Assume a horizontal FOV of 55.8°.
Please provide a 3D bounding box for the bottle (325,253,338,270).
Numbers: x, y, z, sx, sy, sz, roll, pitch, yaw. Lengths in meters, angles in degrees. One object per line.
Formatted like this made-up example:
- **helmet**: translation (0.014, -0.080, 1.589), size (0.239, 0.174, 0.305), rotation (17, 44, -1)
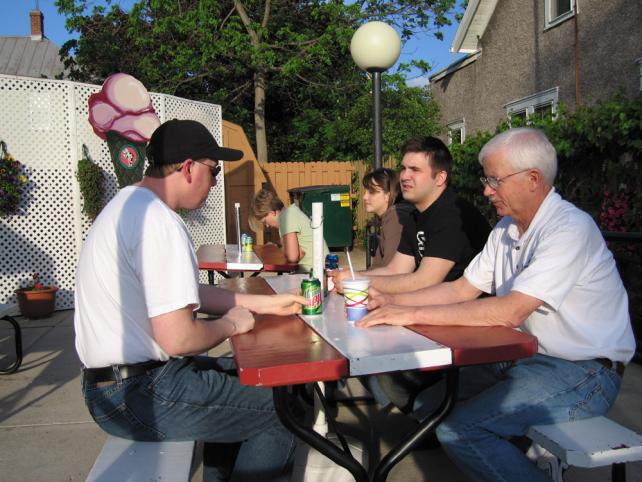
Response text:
- **bottle**: translation (0.091, 0.184, 5.161), size (0.080, 0.134, 0.127), rotation (0, -3, -6)

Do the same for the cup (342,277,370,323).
- **cup**: translation (0.209, 0.355, 3.681), size (0.206, 0.323, 0.214), rotation (-2, 2, 0)

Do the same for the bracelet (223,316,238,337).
- **bracelet**: translation (-0.526, 0.519, 3.559), size (0.090, 0.104, 0.090), rotation (7, -9, -44)

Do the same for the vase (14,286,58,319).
- **vase**: translation (-4.006, 0.890, 8.583), size (0.523, 0.446, 0.542), rotation (-2, 4, -24)

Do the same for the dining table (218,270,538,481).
- **dining table**: translation (0.274, 0.914, 3.958), size (1.688, 0.951, 1.467), rotation (-2, 9, -10)

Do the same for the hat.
- **hat**: translation (-0.795, -0.574, 3.631), size (0.391, 0.226, 0.262), rotation (-14, 10, -21)

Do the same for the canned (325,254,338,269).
- **canned**: translation (0.088, 0.183, 5.149), size (0.094, 0.117, 0.111), rotation (0, -3, -1)
